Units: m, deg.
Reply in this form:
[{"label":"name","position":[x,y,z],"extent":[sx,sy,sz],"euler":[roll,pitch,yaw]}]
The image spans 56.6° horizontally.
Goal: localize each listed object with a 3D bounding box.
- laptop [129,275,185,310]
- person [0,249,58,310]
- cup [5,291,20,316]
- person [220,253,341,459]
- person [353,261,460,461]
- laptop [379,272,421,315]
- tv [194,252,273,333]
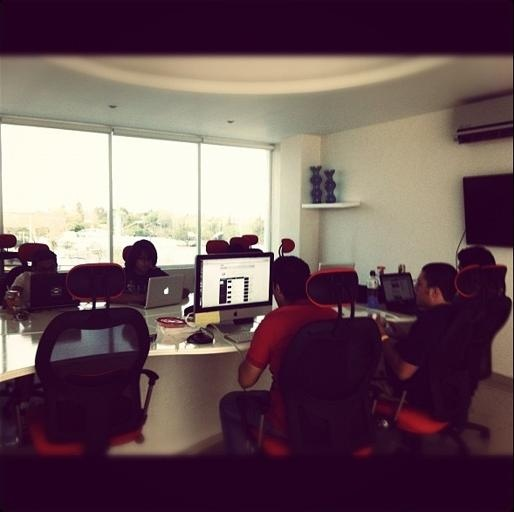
[{"label":"laptop","position":[-0.730,0.273,3.722],"extent":[0.215,0.246,0.316],"euler":[9,6,38]},{"label":"person","position":[-1.741,0.166,3.694],"extent":[0.336,0.359,1.171],"euler":[-2,6,-22]},{"label":"cup","position":[-1.629,0.315,3.180],"extent":[0.147,0.163,0.066],"euler":[4,7,39]},{"label":"person","position":[0.118,0.596,2.494],"extent":[0.461,1.148,0.773],"euler":[-2,5,-21]},{"label":"person","position":[0.954,0.696,2.918],"extent":[0.469,1.299,0.767],"euler":[2,5,15]},{"label":"laptop","position":[1.262,0.313,4.165],"extent":[0.339,0.346,0.290],"euler":[0,0,-24]},{"label":"tv","position":[-0.155,0.222,2.971],"extent":[0.402,0.386,0.174],"euler":[-3,11,-27]}]
